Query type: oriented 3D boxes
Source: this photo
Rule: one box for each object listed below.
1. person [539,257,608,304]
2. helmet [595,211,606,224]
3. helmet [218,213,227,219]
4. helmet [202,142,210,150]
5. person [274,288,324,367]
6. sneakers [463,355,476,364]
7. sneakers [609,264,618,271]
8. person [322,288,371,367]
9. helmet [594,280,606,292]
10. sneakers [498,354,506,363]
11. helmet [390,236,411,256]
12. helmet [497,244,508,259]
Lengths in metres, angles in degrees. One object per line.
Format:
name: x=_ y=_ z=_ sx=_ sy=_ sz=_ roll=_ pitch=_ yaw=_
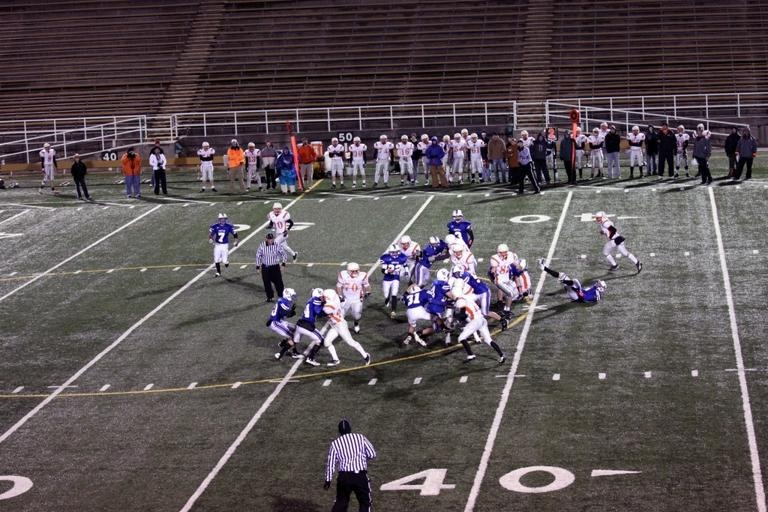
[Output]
person: x=4.949 y=0.720 z=21.307 sx=2.293 sy=1.026 sz=0.799 roll=13 pitch=7 yaw=1
helmet: x=5.935 y=-1.052 z=22.586 sx=0.210 sy=0.283 sz=0.435 roll=-1 pitch=8 yaw=11
helmet: x=-4.609 y=-1.146 z=23.617 sx=0.352 sy=0.155 sz=0.476 roll=0 pitch=1 yaw=-7
helmet: x=-6.943 y=-4.310 z=32.321 sx=0.217 sy=0.232 sz=0.489 roll=-4 pitch=8 yaw=-14
person: x=-1.863 y=1.527 z=19.044 sx=0.969 sy=1.704 sz=1.462 roll=-4 pitch=9 yaw=-7
sneakers: x=1.918 y=2.259 z=18.354 sx=0.307 sy=0.110 sz=0.132 roll=-16 pitch=8 yaw=-28
sneakers: x=6.384 y=0.304 z=22.938 sx=0.213 sy=0.135 sz=0.376 roll=-7 pitch=-3 yaw=19
person: x=-0.912 y=1.556 z=18.662 sx=0.904 sy=1.685 sz=1.326 roll=-3 pitch=9 yaw=-5
helmet: x=5.519 y=0.762 z=20.995 sx=0.373 sy=0.301 sz=0.297 roll=2 pitch=-4 yaw=20
sneakers: x=2.625 y=2.219 z=18.112 sx=0.110 sy=0.197 sz=0.144 roll=-12 pitch=45 yaw=-21
helmet: x=0.462 y=-0.284 z=21.057 sx=0.480 sy=0.312 sz=0.568 roll=-1 pitch=-10 yaw=-12
helmet: x=2.962 y=-0.162 z=20.536 sx=0.316 sy=0.296 sz=0.371 roll=-1 pitch=6 yaw=7
